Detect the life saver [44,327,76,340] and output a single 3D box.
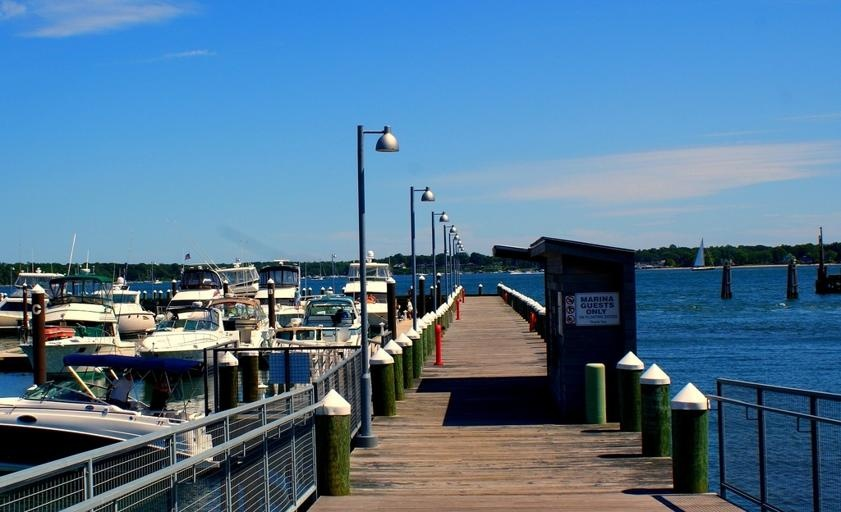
[{"bbox_3d":[-15.691,3.324,50.126,1.096,0.267,1.044,-2,0,-35],"label":"life saver"}]
